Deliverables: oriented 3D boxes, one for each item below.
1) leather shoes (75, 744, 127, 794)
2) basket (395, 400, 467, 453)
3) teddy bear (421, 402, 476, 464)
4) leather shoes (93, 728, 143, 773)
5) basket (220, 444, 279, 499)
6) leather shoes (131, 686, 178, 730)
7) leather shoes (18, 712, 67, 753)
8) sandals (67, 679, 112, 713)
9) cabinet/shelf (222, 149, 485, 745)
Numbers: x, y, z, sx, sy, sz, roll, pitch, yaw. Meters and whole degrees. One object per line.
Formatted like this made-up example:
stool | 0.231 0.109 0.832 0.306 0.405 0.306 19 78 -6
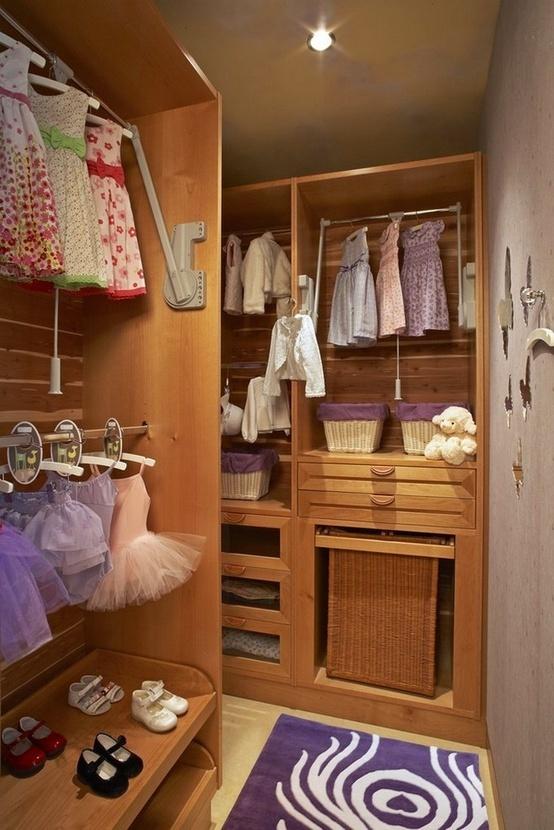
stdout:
leather shoes | -0.432 0.859 1.461 0.120 0.052 0.061 0 -5 36
basket | 0.595 0.029 2.382 0.245 0.224 0.195 0 -2 11
teddy bear | 0.651 0.068 2.251 0.197 0.213 0.148 2 4 35
leather shoes | -0.411 0.849 1.536 0.150 0.060 0.057 1 -6 39
basket | -0.133 0.258 2.751 0.190 0.159 0.235 0 -1 12
leather shoes | -0.350 0.832 1.713 0.139 0.081 0.094 2 4 35
leather shoes | -0.636 0.836 1.610 0.138 0.060 0.061 15 5 38
sandals | -0.557 0.831 1.782 0.102 0.041 0.064 0 -3 34
cabinet/shelf | 0.296 0.078 2.653 1.202 2.169 0.716 1 3 21
